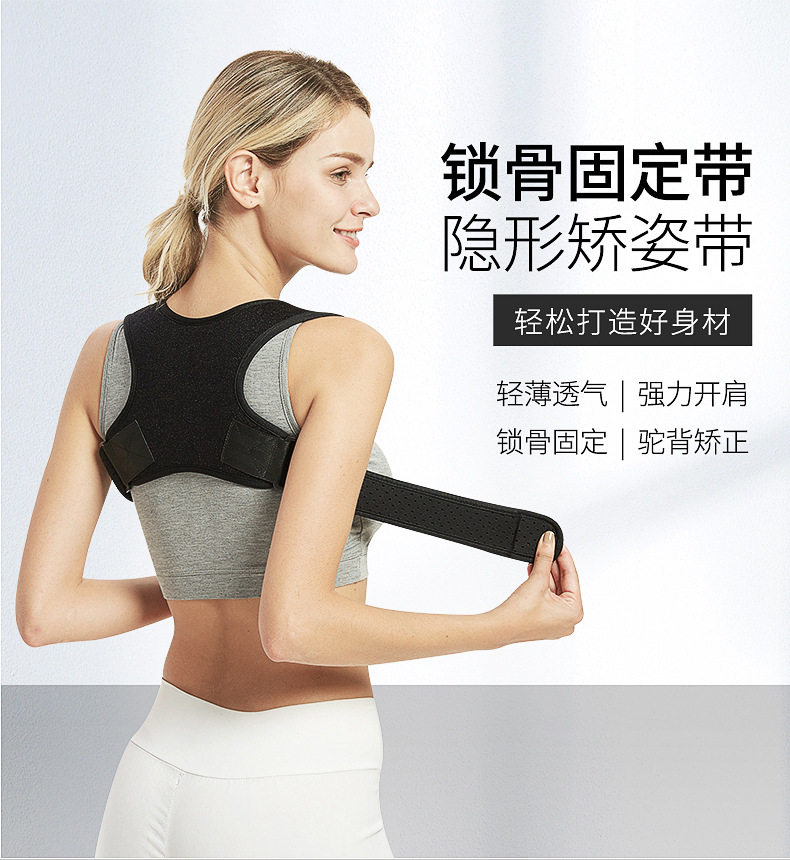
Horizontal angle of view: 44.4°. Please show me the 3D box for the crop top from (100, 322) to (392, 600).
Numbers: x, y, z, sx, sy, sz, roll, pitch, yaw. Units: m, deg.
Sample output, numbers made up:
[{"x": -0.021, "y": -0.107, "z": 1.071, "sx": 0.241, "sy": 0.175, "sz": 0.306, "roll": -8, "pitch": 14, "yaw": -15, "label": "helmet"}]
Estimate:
[{"x": -0.186, "y": 0.021, "z": 1.232, "sx": 0.309, "sy": 0.357, "sz": 0.233, "roll": -1, "pitch": 1, "yaw": 22, "label": "crop top"}]

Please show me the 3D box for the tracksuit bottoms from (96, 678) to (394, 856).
[{"x": -0.174, "y": 0.339, "z": 1.210, "sx": 0.379, "sy": 0.228, "sz": 0.205, "roll": 1, "pitch": -9, "yaw": 30, "label": "tracksuit bottoms"}]

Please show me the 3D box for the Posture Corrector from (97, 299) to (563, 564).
[{"x": -0.046, "y": -0.009, "z": 1.261, "sx": 0.565, "sy": 0.235, "sz": 0.301, "roll": 19, "pitch": 1, "yaw": -16, "label": "Posture Corrector"}]
